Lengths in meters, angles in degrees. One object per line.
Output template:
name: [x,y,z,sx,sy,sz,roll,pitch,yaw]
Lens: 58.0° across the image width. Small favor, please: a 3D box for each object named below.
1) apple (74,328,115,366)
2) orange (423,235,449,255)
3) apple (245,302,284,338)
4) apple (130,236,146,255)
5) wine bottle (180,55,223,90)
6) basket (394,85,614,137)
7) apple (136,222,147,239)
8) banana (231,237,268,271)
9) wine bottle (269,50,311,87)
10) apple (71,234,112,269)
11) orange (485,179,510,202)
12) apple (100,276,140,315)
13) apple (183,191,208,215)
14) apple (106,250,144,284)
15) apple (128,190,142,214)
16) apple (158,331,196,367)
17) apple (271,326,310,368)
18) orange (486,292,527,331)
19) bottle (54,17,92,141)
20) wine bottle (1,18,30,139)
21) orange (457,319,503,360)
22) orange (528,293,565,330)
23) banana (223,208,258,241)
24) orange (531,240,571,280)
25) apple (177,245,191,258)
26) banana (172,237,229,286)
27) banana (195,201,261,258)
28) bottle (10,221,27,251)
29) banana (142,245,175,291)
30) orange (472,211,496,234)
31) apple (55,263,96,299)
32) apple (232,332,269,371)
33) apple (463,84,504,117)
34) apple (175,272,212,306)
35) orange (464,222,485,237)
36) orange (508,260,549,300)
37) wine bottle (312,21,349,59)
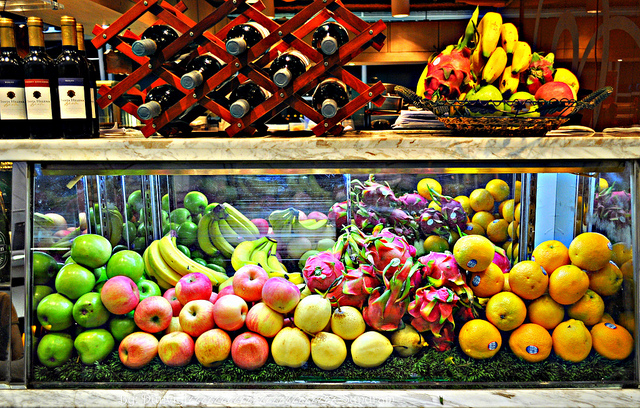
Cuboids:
apple: [-0.890,0.574,2.265,0.136,0.167,0.139,-1,9,2]
orange: [0.452,0.156,2.319,0.079,0.075,0.091,33,1,10]
apple: [-0.214,0.446,2.273,0.123,0.126,0.126,-37,-3,-1]
apple: [-0.742,0.169,2.350,0.055,0.070,0.039,10,-9,-14]
wine bottle: [-0.448,-0.504,2.173,0.150,0.138,0.114,0,3,-10]
basket: [0.664,-0.350,2.148,0.775,0.186,0.192,1,4,3]
apple: [-0.728,0.104,2.355,0.054,0.062,0.053,-11,7,-14]
banana: [-0.292,0.208,2.358,0.133,0.045,0.175,-2,38,-8]
wine bottle: [-0.116,-0.513,2.152,0.151,0.145,0.093,0,3,-6]
apple: [-0.904,0.187,2.276,0.140,0.131,0.133,5,8,0]
orange: [0.684,-0.055,2.237,0.099,0.087,0.042,-2,4,-35]
apple: [-0.774,0.353,2.308,0.138,0.140,0.141,-18,14,-2]
apple: [-0.499,-0.014,2.329,0.091,0.088,0.105,22,-6,-33]
apple: [-0.778,0.243,2.304,0.152,0.124,0.126,-3,0,5]
apple: [-0.738,-0.012,2.296,0.052,0.094,0.047,0,3,-14]
apple: [-0.555,0.575,2.238,0.116,0.113,0.120,-11,-24,22]
apple: [-0.102,0.556,2.224,0.127,0.146,0.127,-5,1,-6]
orange: [0.700,0.388,2.239,0.136,0.139,0.143,18,14,34]
bottle: [-0.937,-0.475,2.174,0.141,0.468,0.100,0,3,-11]
wine bottle: [-1.152,-0.475,2.170,0.114,0.452,0.050,0,3,-8]
orange: [0.604,0.530,2.227,0.134,0.167,0.141,-11,-29,36]
orange: [0.853,0.405,2.199,0.130,0.126,0.131,-4,-5,17]
banana: [-0.320,0.074,2.316,0.147,0.049,0.031,43,30,3]
orange: [0.886,0.203,2.229,0.128,0.145,0.129,4,13,24]
apple: [-0.554,0.188,2.351,0.026,0.062,0.034,-49,-11,35]
banana: [-0.480,0.240,2.334,0.268,0.104,0.048,33,8,-5]
banana: [-0.367,0.114,2.350,0.203,0.261,0.097,-32,31,19]
bottle: [-1.139,0.120,2.187,0.056,0.112,0.005,0,3,-7]
banana: [-0.660,0.261,2.333,0.045,0.140,0.128,-44,-15,20]
orange: [0.634,0.063,2.274,0.072,0.084,0.071,-1,-5,-7]
apple: [-0.974,0.301,2.293,0.180,0.150,0.177,0,14,-27]
apple: [-0.271,0.565,2.245,0.132,0.124,0.132,2,0,-3]
apple: [0.597,-0.383,2.131,0.089,0.073,0.080,36,35,1]
apple: [-0.502,0.332,2.288,0.124,0.116,0.125,-5,-2,29]
orange: [0.613,0.097,2.309,0.057,0.071,0.060,-20,32,34]
orange: [0.808,0.292,2.249,0.151,0.145,0.139,10,-10,-9]
wine bottle: [0.035,-0.626,2.173,0.140,0.147,0.149,1,4,1]
